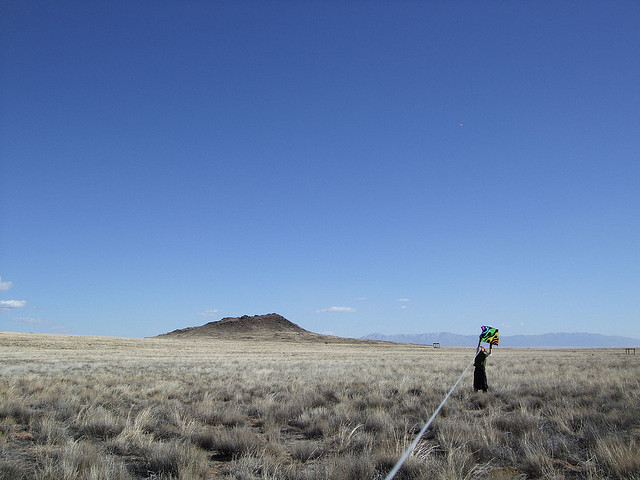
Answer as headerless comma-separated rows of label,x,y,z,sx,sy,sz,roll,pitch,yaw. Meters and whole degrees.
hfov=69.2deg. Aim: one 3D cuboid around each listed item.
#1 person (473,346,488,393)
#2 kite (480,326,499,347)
person,6.645,5.380,19.212,0.509,1.896,0.908,0,-10,18
kite,6.924,3.932,19.054,0.570,0.672,0.995,-3,-11,29
